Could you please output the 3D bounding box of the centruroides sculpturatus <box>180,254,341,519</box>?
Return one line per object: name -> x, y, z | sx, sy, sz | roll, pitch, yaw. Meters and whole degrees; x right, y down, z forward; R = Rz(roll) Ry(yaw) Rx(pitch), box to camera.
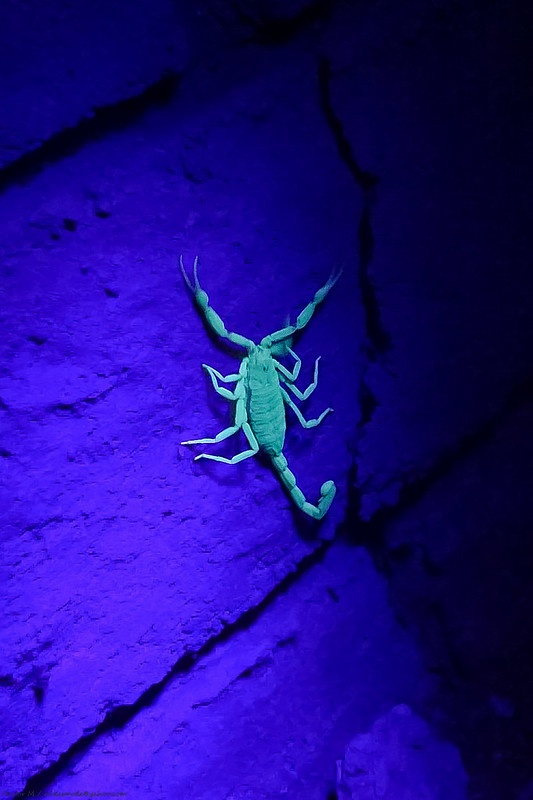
centruroides sculpturatus -> -0.012, -0.006, 1.452 | 0.338, 0.368, 0.290 | 2, 43, -23
